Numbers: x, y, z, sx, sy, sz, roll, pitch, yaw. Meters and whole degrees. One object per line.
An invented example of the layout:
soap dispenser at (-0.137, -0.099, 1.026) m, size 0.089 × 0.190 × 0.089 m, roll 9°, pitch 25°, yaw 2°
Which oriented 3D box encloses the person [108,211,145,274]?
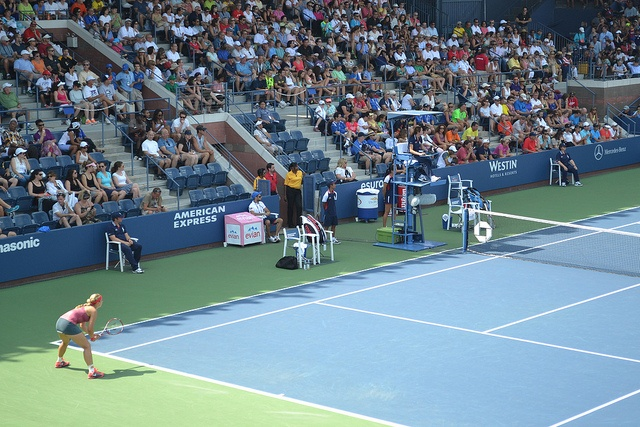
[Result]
person at (-6.172, 0.936, 27.302) m, size 1.052 × 1.913 × 0.659 m, roll -3°, pitch 5°, yaw 2°

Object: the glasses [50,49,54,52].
glasses at (-10.575, -6.442, 33.873) m, size 0.088 × 0.059 × 0.337 m, roll -4°, pitch 5°, yaw -6°

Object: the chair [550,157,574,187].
chair at (10.626, -1.779, 38.517) m, size 1.074 × 1.760 × 1.308 m, roll 4°, pitch 9°, yaw 36°

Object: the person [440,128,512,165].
person at (6.780, -2.715, 37.059) m, size 2.791 × 0.999 × 1.131 m, roll -7°, pitch 6°, yaw -38°

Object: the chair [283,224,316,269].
chair at (-0.677, 1.076, 28.227) m, size 1.000 × 1.513 × 1.362 m, roll -4°, pitch 4°, yaw -40°

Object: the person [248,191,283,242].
person at (-1.878, 0.128, 30.300) m, size 0.866 × 1.822 × 1.245 m, roll 2°, pitch 7°, yaw 43°

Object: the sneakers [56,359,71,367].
sneakers at (-6.378, 3.719, 21.292) m, size 0.398 × 0.196 × 0.139 m, roll -7°, pitch 14°, yaw -42°

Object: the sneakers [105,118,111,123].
sneakers at (-8.202, -3.558, 33.063) m, size 0.198 × 0.209 × 0.199 m, roll 3°, pitch 0°, yaw 5°

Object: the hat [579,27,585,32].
hat at (15.265, -10.829, 50.385) m, size 0.331 × 0.255 × 0.484 m, roll 4°, pitch 12°, yaw 20°

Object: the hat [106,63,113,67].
hat at (-8.517, -5.979, 34.646) m, size 0.327 × 0.180 × 0.485 m, roll -2°, pitch 7°, yaw -20°

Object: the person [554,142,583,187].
person at (11.026, -2.130, 38.243) m, size 1.168 × 1.828 × 1.020 m, roll -8°, pitch 7°, yaw -41°

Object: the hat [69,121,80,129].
hat at (-8.754, -3.163, 30.774) m, size 0.306 × 0.135 × 0.222 m, roll 5°, pitch 5°, yaw -42°

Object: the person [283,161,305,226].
person at (-0.985, -0.648, 31.468) m, size 0.667 × 2.382 × 0.549 m, roll 0°, pitch 6°, yaw 34°

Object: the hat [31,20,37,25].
hat at (-11.657, -7.771, 34.930) m, size 0.363 × 0.162 × 0.468 m, roll -1°, pitch 11°, yaw -29°

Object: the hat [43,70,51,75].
hat at (-10.668, -5.530, 33.513) m, size 0.288 × 0.214 × 0.221 m, roll -5°, pitch 5°, yaw -20°

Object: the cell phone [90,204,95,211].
cell phone at (-7.423, -0.176, 27.920) m, size 0.164 × 0.205 × 0.146 m, roll 3°, pitch 2°, yaw 22°

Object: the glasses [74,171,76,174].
glasses at (-8.199, -1.372, 28.690) m, size 0.062 × 0.072 × 0.070 m, roll 1°, pitch 14°, yaw -15°

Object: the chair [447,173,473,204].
chair at (5.413, -0.939, 33.732) m, size 0.459 × 0.907 × 1.246 m, roll 1°, pitch 8°, yaw 21°

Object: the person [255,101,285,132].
person at (-2.062, -3.760, 34.867) m, size 1.146 × 1.733 × 0.737 m, roll 1°, pitch 10°, yaw 38°

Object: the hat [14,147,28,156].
hat at (-10.111, -2.085, 28.941) m, size 0.370 × 0.267 × 0.395 m, roll -5°, pitch 5°, yaw -20°

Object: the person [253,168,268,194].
person at (-2.207, -1.222, 31.143) m, size 0.430 × 0.767 × 0.905 m, roll -3°, pitch 5°, yaw -3°

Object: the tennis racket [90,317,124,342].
tennis racket at (-5.732, 3.194, 23.209) m, size 1.003 × 0.378 × 0.080 m, roll -32°, pitch 1°, yaw -37°

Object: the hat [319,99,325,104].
hat at (0.029, -4.796, 36.848) m, size 0.246 × 0.114 × 0.337 m, roll 0°, pitch 10°, yaw -6°

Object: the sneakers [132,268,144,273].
sneakers at (-5.775, 1.818, 27.143) m, size 0.304 × 0.145 × 0.126 m, roll 1°, pitch 9°, yaw 18°

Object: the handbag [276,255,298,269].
handbag at (-1.082, 1.572, 27.543) m, size 0.532 × 0.232 × 0.378 m, roll 1°, pitch 11°, yaw 26°

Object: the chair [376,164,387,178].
chair at (2.453, -1.749, 34.713) m, size 0.422 × 0.590 × 0.489 m, roll -3°, pitch 6°, yaw -22°

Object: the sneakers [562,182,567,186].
sneakers at (10.757, -1.299, 38.101) m, size 0.152 × 0.251 × 0.246 m, roll 1°, pitch -10°, yaw -1°

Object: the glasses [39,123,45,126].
glasses at (-9.759, -3.115, 30.053) m, size 0.138 × 0.048 × 0.136 m, roll 3°, pitch 9°, yaw 28°

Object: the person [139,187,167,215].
person at (-5.646, -0.424, 28.955) m, size 0.810 × 0.877 × 0.696 m, roll -4°, pitch 5°, yaw -12°

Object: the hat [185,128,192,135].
hat at (-5.008, -3.099, 32.495) m, size 0.236 × 0.147 × 0.336 m, roll 0°, pitch 9°, yaw -3°

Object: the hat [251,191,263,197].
hat at (-2.283, -0.638, 30.151) m, size 0.262 × 0.245 × 0.517 m, roll -5°, pitch 5°, yaw -17°

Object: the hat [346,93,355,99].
hat at (1.298, -5.225, 38.069) m, size 0.418 × 0.197 × 0.608 m, roll 3°, pitch 12°, yaw -4°

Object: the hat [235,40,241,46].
hat at (-3.696, -7.673, 38.346) m, size 0.269 × 0.128 × 0.428 m, roll -12°, pitch 39°, yaw -16°

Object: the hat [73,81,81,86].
hat at (-9.295, -4.942, 32.796) m, size 0.288 × 0.223 × 0.445 m, roll -4°, pitch 5°, yaw -11°

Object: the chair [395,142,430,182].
chair at (3.095, -1.645, 29.900) m, size 1.168 × 1.354 × 1.490 m, roll 5°, pitch -7°, yaw 15°

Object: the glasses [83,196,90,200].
glasses at (-7.530, -0.476, 27.744) m, size 0.055 × 0.070 × 0.175 m, roll 1°, pitch 7°, yaw 39°

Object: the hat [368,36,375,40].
hat at (2.554, -8.766, 42.877) m, size 0.257 × 0.209 × 0.334 m, roll -15°, pitch 19°, yaw -40°

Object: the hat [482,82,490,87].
hat at (8.105, -6.343, 42.335) m, size 0.392 × 0.175 × 0.544 m, roll -3°, pitch 11°, yaw 6°

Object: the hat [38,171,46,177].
hat at (-9.289, -1.318, 28.898) m, size 0.064 × 0.222 × 0.210 m, roll 4°, pitch -1°, yaw 32°

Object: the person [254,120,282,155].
person at (-2.172, -2.962, 33.891) m, size 0.652 × 1.398 × 1.184 m, roll -7°, pitch 6°, yaw -38°
